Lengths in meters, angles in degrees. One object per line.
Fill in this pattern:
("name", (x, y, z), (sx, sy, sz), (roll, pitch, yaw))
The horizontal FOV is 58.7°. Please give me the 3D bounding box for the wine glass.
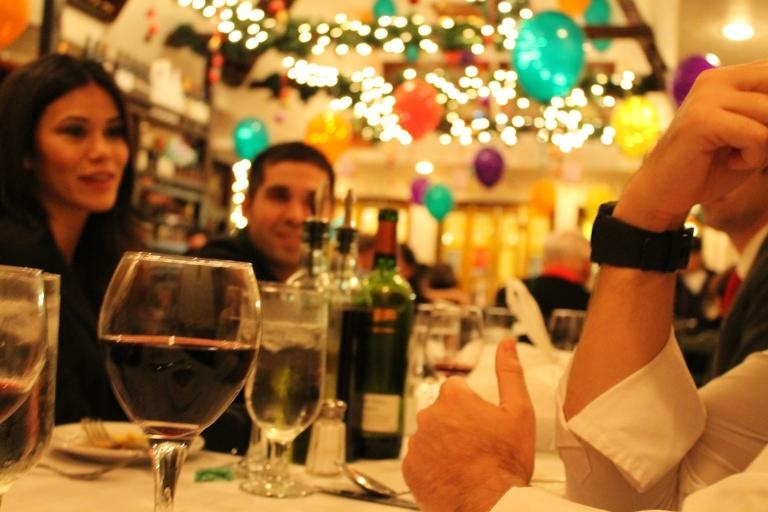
("wine glass", (-0.244, 0.146, 0.803), (0.184, 0.255, 0.073), (5, -2, -15))
